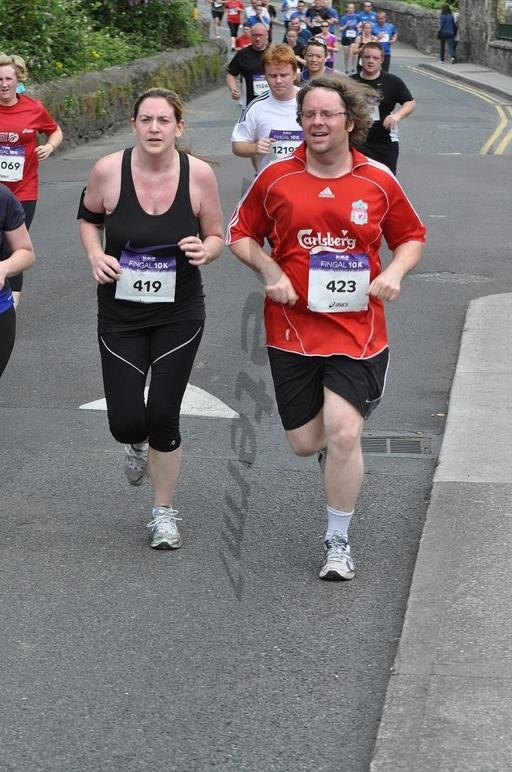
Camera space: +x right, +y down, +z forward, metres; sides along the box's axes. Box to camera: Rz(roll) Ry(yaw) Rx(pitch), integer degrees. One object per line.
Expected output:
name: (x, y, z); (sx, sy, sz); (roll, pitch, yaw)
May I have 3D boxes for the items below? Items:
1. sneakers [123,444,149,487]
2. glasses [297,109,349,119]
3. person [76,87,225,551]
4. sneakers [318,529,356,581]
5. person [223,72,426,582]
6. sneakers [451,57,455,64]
sneakers: (-0.532, 0.350, 3.612); (0.091, 0.238, 0.106); (-1, 29, -1)
glasses: (0.237, -0.944, 2.769); (0.150, 0.035, 0.062); (0, 12, 10)
person: (-0.381, -0.251, 3.200); (0.573, 1.821, 0.445); (-5, 12, -9)
sneakers: (0.304, 0.651, 2.948); (0.095, 0.091, 0.217); (1, -1, 5)
person: (0.258, -0.204, 2.957); (0.734, 1.839, 0.510); (-1, 12, 9)
sneakers: (9.149, -14.882, 36.426); (0.210, 0.231, 0.583); (1, 13, 4)
